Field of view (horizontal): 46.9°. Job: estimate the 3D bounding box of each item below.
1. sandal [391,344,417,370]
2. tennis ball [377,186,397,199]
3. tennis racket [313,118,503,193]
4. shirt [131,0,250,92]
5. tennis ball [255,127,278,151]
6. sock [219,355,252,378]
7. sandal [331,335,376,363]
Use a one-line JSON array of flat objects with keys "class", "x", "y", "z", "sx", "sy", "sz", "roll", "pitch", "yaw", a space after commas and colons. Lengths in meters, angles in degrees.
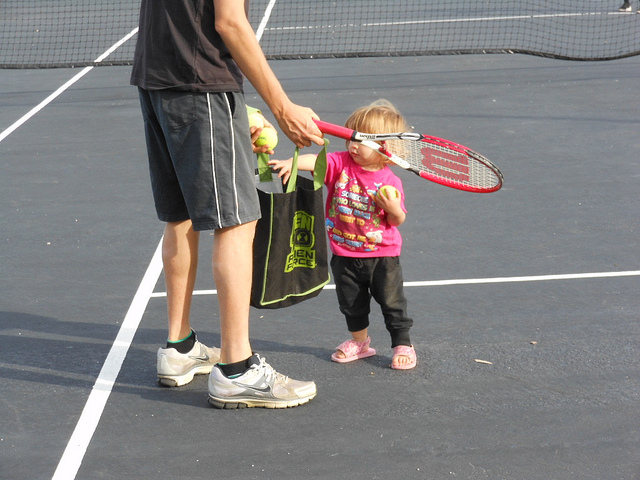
[{"class": "sandal", "x": 0.451, "y": 0.614, "z": 3.912, "sx": 0.156, "sy": 0.108, "sz": 0.120, "roll": -4, "pitch": 23, "yaw": -7}, {"class": "tennis ball", "x": 0.362, "y": -0.257, "z": 3.828, "sx": 0.082, "sy": 0.061, "sz": 0.060, "roll": -3, "pitch": 51, "yaw": 6}, {"class": "tennis racket", "x": 0.488, "y": -0.447, "z": 3.835, "sx": 0.863, "sy": 0.404, "sz": 0.347, "roll": -1, "pitch": 23, "yaw": 0}, {"class": "shirt", "x": -0.660, "y": -0.901, "z": 3.398, "sx": 0.602, "sy": 0.394, "sz": 0.309, "roll": 14, "pitch": 27, "yaw": 32}, {"class": "tennis ball", "x": -0.256, "y": -0.520, "z": 3.731, "sx": 0.072, "sy": 0.129, "sz": 0.160, "roll": 11, "pitch": 25, "yaw": 26}, {"class": "sock", "x": -0.407, "y": 0.615, "z": 3.535, "sx": 0.110, "sy": 0.066, "sz": 0.085, "roll": 3, "pitch": 1, "yaw": -15}, {"class": "sandal", "x": 0.190, "y": 0.599, "z": 4.032, "sx": 0.243, "sy": 0.090, "sz": 0.101, "roll": -2, "pitch": 5, "yaw": -30}]
